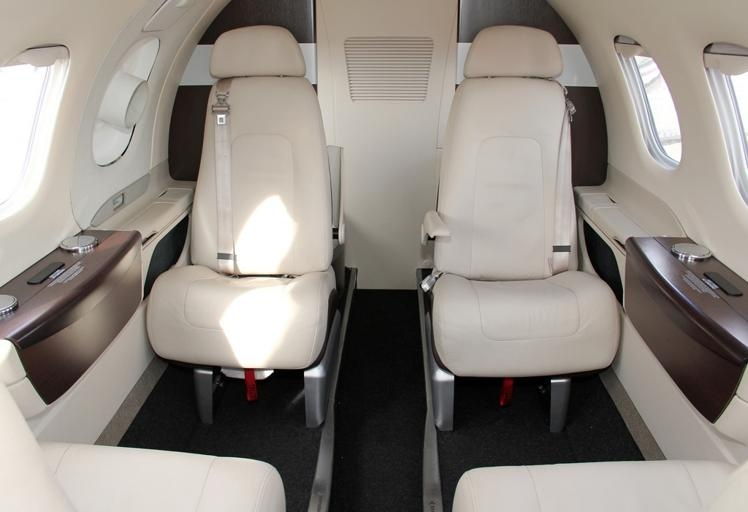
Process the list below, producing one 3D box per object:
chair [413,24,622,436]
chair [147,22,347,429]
[{"bbox_3d":[0.722,-0.138,2.815,0.925,1.952,0.880,-1,20,0],"label":"chair"},{"bbox_3d":[-0.656,-0.154,2.843,0.893,1.943,0.923,1,21,6],"label":"chair"}]
